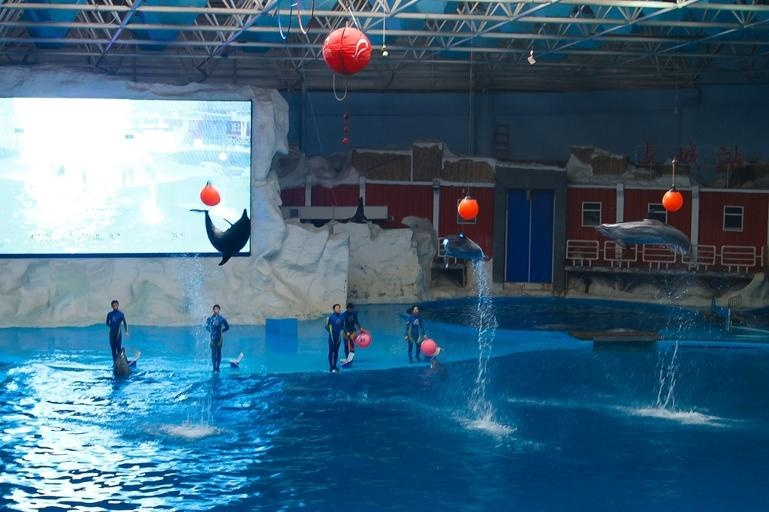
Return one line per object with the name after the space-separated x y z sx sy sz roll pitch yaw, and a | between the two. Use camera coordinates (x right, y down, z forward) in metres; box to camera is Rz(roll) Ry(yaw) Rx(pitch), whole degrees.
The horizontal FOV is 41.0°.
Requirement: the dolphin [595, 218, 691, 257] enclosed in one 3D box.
6.031 -0.453 24.085 2.259 1.008 0.768 2 6 13 | dolphin

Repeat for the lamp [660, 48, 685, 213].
10.027 -4.487 35.849 0.577 5.851 0.863 3 13 19 | lamp

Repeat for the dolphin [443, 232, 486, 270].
1.798 -0.098 26.683 1.424 0.779 0.882 8 9 38 | dolphin
